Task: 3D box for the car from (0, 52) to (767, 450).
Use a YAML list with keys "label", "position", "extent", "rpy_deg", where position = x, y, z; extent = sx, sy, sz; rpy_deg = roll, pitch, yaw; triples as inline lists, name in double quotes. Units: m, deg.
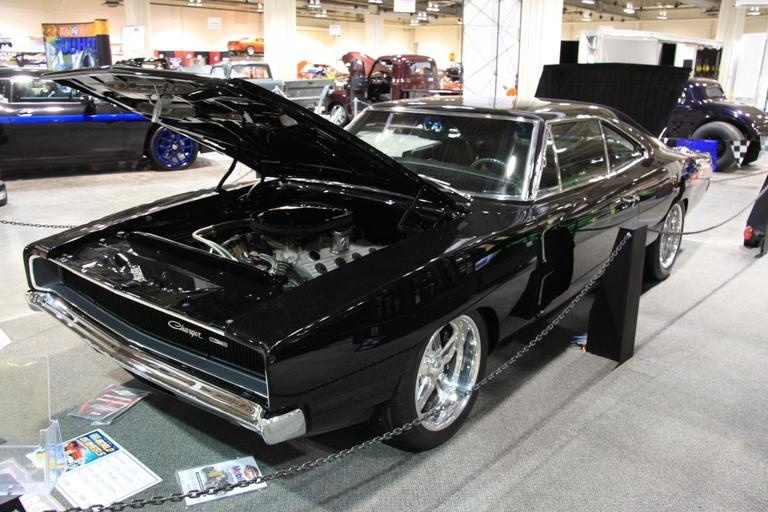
- label: "car"
  position: [0.601, -0.196, 3.406]
  extent: [4.685, 1.358, 2.346]
  rpy_deg: [-15, 26, -31]
